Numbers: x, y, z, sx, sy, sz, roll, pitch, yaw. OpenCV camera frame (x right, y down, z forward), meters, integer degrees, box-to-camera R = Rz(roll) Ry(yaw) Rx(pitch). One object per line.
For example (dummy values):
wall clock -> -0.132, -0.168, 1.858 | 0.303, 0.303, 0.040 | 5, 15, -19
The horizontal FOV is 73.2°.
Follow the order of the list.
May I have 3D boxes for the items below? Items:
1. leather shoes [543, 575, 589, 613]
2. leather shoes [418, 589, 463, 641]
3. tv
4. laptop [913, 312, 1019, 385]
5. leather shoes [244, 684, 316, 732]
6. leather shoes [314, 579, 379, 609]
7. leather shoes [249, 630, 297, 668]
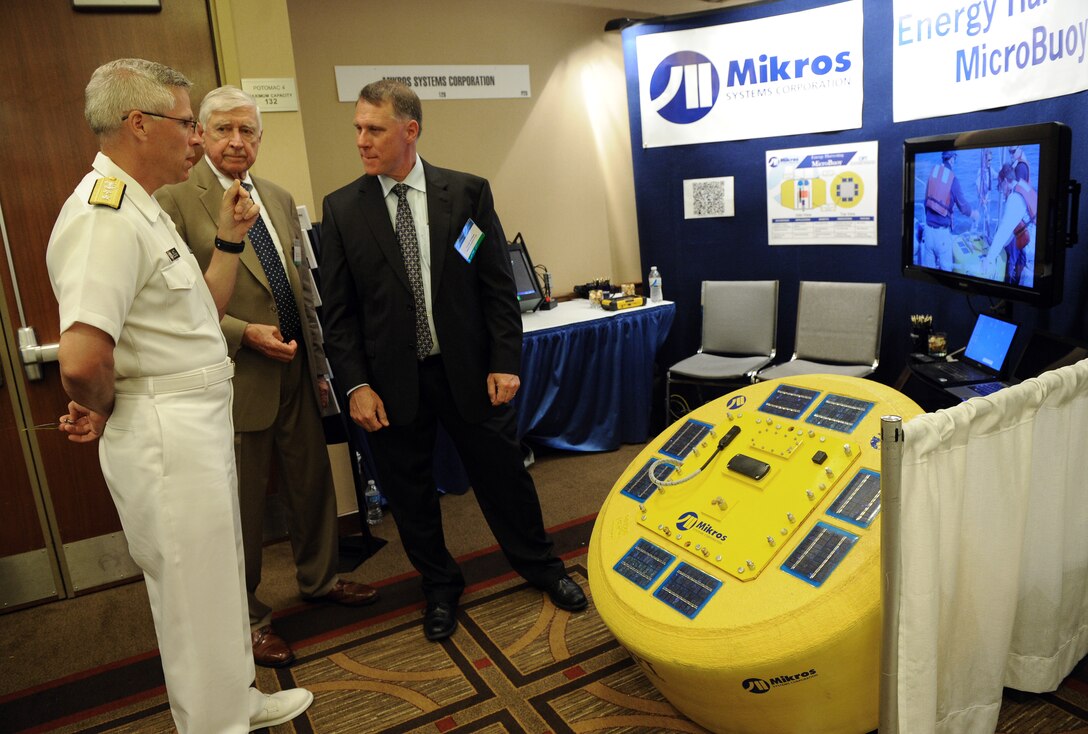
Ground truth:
leather shoes -> 0.074, 1.005, 3.374 | 0.098, 0.100, 0.271 | -19, 21, -31
leather shoes -> -0.476, 1.088, 3.346 | 0.149, 0.147, 0.371 | -3, 8, 2
tv -> 2.182, -0.747, 3.593 | 0.323, 0.835, 1.019 | -5, 9, -8
laptop -> 2.068, -0.093, 3.618 | 0.369, 0.276, 0.339 | -3, 15, -1
leather shoes -> -1.036, 1.296, 2.917 | 0.305, 0.131, 0.116 | -4, 36, -43
leather shoes -> -0.939, 1.077, 3.551 | 0.328, 0.113, 0.123 | 0, 9, -1
leather shoes -> -1.197, 1.218, 3.198 | 0.102, 0.102, 0.273 | -9, 7, -40
